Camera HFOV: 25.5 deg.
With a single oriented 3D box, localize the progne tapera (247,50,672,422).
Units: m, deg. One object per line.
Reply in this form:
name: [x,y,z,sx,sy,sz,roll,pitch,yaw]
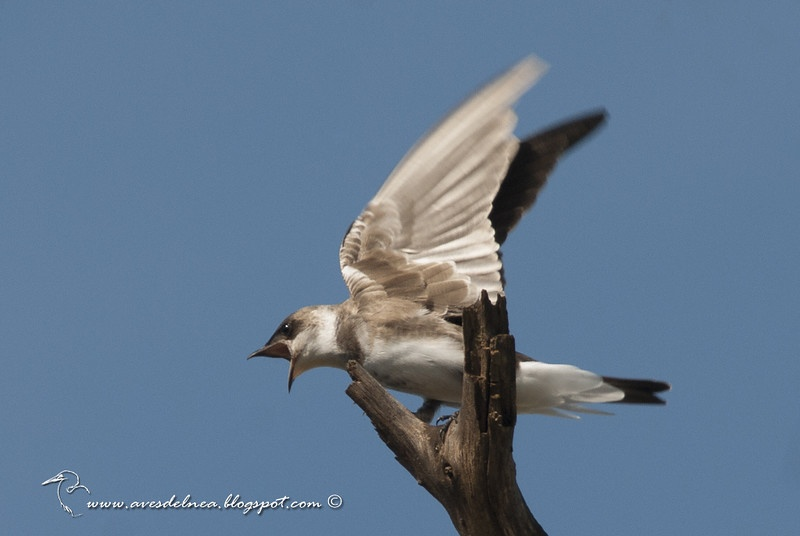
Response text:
progne tapera: [0.292,0.052,10.394,2.056,2.376,1.503,0,71,1]
